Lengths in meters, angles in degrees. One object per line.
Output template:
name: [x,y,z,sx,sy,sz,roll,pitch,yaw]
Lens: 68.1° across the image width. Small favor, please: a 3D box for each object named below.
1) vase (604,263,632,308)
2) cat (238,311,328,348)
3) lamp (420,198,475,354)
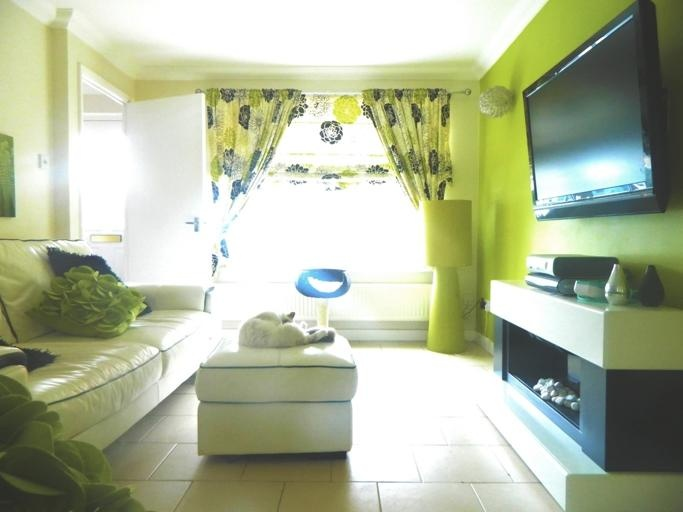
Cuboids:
vase: [1.320,0.138,2.435,0.116,0.179,0.117,1,0,-20]
cat: [-0.356,0.448,2.957,0.325,0.106,0.267,-1,-2,-26]
lamp: [0.914,0.188,4.538,0.439,1.372,0.220,2,10,9]
